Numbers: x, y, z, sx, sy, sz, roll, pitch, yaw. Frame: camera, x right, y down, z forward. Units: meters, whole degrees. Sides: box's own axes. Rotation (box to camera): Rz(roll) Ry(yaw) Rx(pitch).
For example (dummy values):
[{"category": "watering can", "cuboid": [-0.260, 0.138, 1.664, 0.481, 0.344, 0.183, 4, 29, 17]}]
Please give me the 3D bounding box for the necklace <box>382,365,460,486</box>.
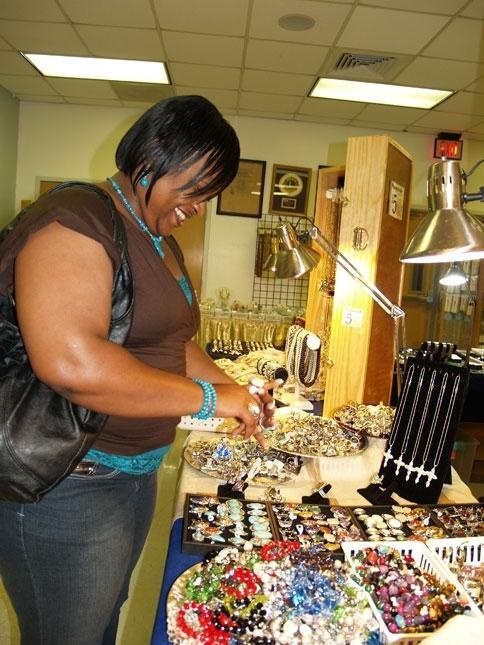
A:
[{"category": "necklace", "cuboid": [0.472, 0.270, 1.279, 0.198, 0.329, 0.124, 10, 8, 42]}]
